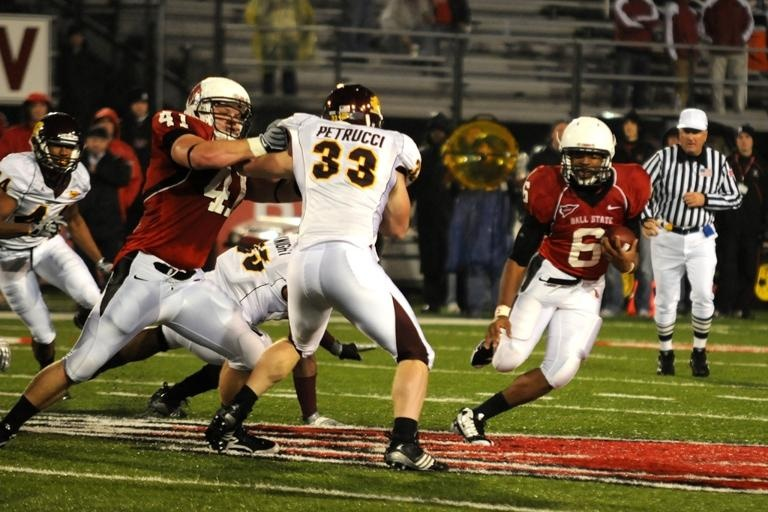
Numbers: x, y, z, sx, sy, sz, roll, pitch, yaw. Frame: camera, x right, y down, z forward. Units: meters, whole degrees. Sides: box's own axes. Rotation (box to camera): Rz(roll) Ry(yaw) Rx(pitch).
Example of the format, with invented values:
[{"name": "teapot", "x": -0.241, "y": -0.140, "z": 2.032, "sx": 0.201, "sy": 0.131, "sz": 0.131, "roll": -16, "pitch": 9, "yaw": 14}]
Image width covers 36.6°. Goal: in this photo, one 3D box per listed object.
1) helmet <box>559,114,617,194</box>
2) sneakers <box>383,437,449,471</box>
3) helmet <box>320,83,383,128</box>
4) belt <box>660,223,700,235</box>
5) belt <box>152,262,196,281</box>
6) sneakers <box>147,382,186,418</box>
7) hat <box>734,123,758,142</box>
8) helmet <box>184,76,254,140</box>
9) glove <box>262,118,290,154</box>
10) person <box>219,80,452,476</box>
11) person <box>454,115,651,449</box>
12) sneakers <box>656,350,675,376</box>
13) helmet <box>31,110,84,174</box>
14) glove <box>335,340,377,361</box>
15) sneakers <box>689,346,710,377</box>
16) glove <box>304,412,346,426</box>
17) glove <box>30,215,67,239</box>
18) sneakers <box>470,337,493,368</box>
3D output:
[{"name": "helmet", "x": 1.424, "y": -0.731, "z": 8.154, "sx": 0.368, "sy": 0.430, "sz": 0.480, "roll": 0, "pitch": 8, "yaw": 12}, {"name": "sneakers", "x": 0.184, "y": 1.291, "z": 7.543, "sx": 0.486, "sy": 0.264, "sz": 0.163, "roll": 5, "pitch": -3, "yaw": -11}, {"name": "helmet", "x": -0.199, "y": -0.998, "z": 7.689, "sx": 0.340, "sy": 0.294, "sz": 0.270, "roll": 2, "pitch": 2, "yaw": -12}, {"name": "belt", "x": 2.599, "y": -0.235, "z": 10.185, "sx": 0.313, "sy": 0.082, "sz": 0.049, "roll": 9, "pitch": 9, "yaw": 16}, {"name": "belt", "x": -1.402, "y": 0.110, "z": 7.703, "sx": 0.166, "sy": 0.062, "sz": 0.129, "roll": 30, "pitch": -7, "yaw": 2}, {"name": "sneakers", "x": -1.568, "y": 1.049, "z": 8.466, "sx": 0.209, "sy": 0.190, "sz": 0.289, "roll": 8, "pitch": -13, "yaw": 23}, {"name": "hat", "x": 4.082, "y": -1.437, "z": 13.092, "sx": 0.194, "sy": 0.211, "sz": 0.272, "roll": 3, "pitch": -10, "yaw": 25}, {"name": "helmet", "x": -1.089, "y": -1.008, "z": 7.895, "sx": 0.440, "sy": 0.428, "sz": 0.391, "roll": 6, "pitch": 7, "yaw": 24}, {"name": "glove", "x": -0.698, "y": -0.790, "z": 7.696, "sx": 0.144, "sy": 0.243, "sz": 0.108, "roll": 31, "pitch": 13, "yaw": 1}, {"name": "person", "x": -0.271, "y": 0.230, "z": 7.533, "sx": 1.394, "sy": 2.205, "sz": 0.541, "roll": 6, "pitch": 8, "yaw": 3}, {"name": "person", "x": 1.201, "y": 0.152, "z": 8.220, "sx": 1.275, "sy": 2.290, "sz": 0.532, "roll": 1, "pitch": 9, "yaw": -30}, {"name": "sneakers", "x": 2.483, "y": 0.921, "z": 10.188, "sx": 0.155, "sy": 0.219, "sz": 0.248, "roll": 8, "pitch": 9, "yaw": 14}, {"name": "helmet", "x": -2.459, "y": -0.851, "z": 8.721, "sx": 0.341, "sy": 0.407, "sz": 0.449, "roll": 2, "pitch": 30, "yaw": -36}, {"name": "glove", "x": -0.207, "y": 0.720, "z": 8.784, "sx": 0.193, "sy": 0.097, "sz": 0.309, "roll": 15, "pitch": -1, "yaw": 36}, {"name": "sneakers", "x": 2.756, "y": 0.917, "z": 10.098, "sx": 0.174, "sy": 0.254, "sz": 0.188, "roll": 8, "pitch": 9, "yaw": 15}, {"name": "glove", "x": -0.411, "y": 1.174, "z": 8.344, "sx": 0.309, "sy": 0.132, "sz": 0.108, "roll": -1, "pitch": 0, "yaw": 13}, {"name": "glove", "x": -2.570, "y": -0.236, "z": 8.924, "sx": 0.196, "sy": 0.145, "sz": 0.090, "roll": -18, "pitch": 57, "yaw": -35}, {"name": "sneakers", "x": 0.684, "y": 0.692, "z": 8.148, "sx": 0.101, "sy": 0.256, "sz": 0.090, "roll": 24, "pitch": 9, "yaw": -40}]
